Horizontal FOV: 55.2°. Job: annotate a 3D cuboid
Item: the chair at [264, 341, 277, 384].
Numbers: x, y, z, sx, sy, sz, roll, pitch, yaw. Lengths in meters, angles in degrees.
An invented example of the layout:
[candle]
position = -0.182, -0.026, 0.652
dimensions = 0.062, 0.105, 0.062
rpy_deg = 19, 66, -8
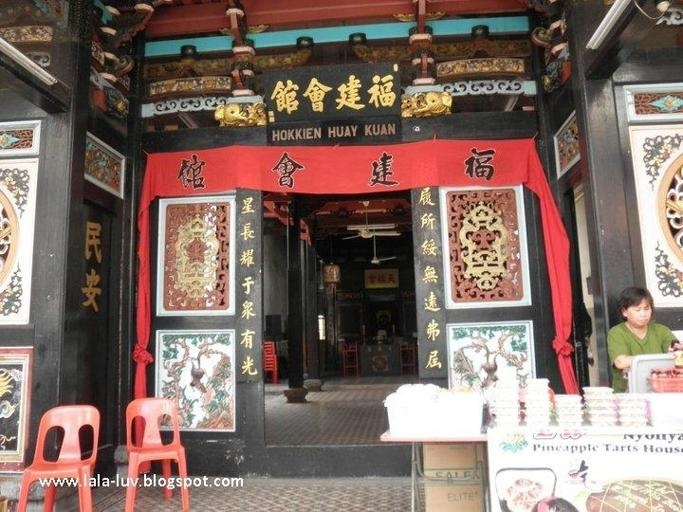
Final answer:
[chair]
position = -1.365, 2.028, 12.609
dimensions = 0.233, 0.824, 0.370
rpy_deg = 0, -13, -3

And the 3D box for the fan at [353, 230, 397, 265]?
[fan]
position = 0.650, -0.318, 12.425
dimensions = 0.897, 0.814, 0.779
rpy_deg = 0, -9, 2
